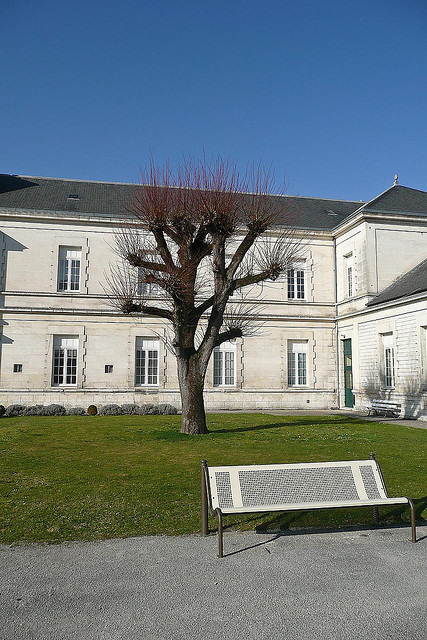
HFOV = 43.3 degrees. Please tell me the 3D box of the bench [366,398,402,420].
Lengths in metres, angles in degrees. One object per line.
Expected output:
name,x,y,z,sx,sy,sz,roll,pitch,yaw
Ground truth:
bench,6.225,3.261,19.675,0.665,0.603,1.985,1,-5,-10
